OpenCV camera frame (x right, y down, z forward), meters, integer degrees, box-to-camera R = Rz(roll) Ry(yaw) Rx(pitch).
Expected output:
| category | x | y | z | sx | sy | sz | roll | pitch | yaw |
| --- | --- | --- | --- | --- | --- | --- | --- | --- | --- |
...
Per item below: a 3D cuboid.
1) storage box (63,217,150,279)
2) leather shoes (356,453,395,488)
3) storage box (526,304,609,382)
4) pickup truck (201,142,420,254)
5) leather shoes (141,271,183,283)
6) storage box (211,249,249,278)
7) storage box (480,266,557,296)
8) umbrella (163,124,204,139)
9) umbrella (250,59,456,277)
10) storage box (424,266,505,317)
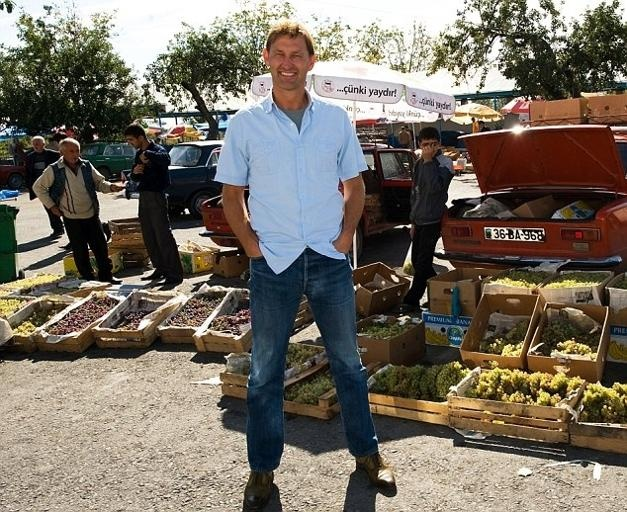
| category | x | y | z | sx | sy | sz | roll | pitch | yaw |
| --- | --- | --- | --- | --- | --- | --- | --- | --- | --- |
| storage box | -4.170 | -0.233 | 9.990 | 1.705 | 0.832 | 1.510 | -6 | 20 | -8 |
| leather shoes | 0.395 | 1.316 | 2.919 | 0.127 | 0.129 | 0.330 | -10 | 4 | -28 |
| storage box | 2.212 | 0.732 | 4.035 | 0.633 | 0.273 | 0.819 | 5 | 29 | 29 |
| pickup truck | 0.496 | -1.204 | 9.866 | 2.726 | 1.256 | 4.046 | 12 | 25 | 40 |
| leather shoes | -2.802 | 0.407 | 8.689 | 0.576 | 0.192 | 0.167 | 7 | 13 | 20 |
| storage box | -1.597 | 0.125 | 8.960 | 0.624 | 0.317 | 0.598 | -7 | 10 | -39 |
| storage box | 2.165 | 0.266 | 4.886 | 0.410 | 0.140 | 0.532 | 0 | 12 | 28 |
| umbrella | -10.777 | -10.553 | 39.284 | 2.203 | 0.968 | 3.284 | 3 | 8 | 21 |
| umbrella | 0.602 | -1.770 | 8.856 | 4.190 | 3.351 | 3.411 | -12 | 24 | -26 |
| storage box | 1.665 | 0.284 | 5.266 | 0.609 | 0.369 | 0.836 | 5 | 13 | 38 |
